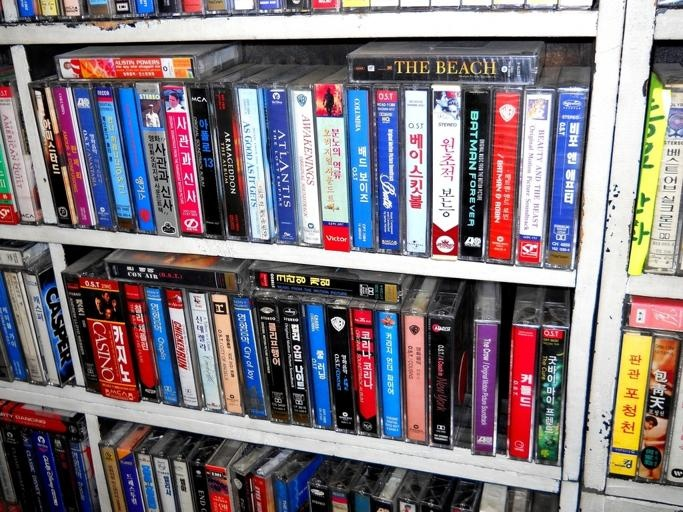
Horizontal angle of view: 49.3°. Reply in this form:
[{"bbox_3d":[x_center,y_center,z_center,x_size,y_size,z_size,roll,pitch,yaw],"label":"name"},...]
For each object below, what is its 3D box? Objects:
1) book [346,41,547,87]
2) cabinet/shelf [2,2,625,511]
[{"bbox_3d":[0.225,-0.419,1.616,0.392,0.095,0.163,4,13,13],"label":"book"},{"bbox_3d":[-0.029,-0.023,1.744,1.274,1.111,0.397,8,36,21],"label":"cabinet/shelf"}]
